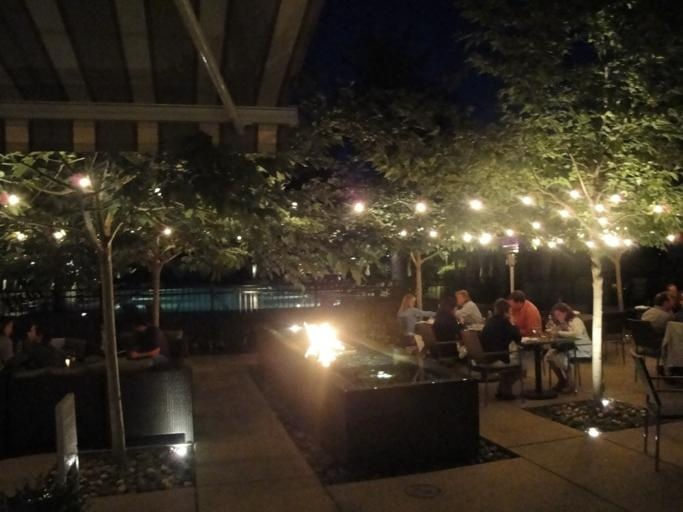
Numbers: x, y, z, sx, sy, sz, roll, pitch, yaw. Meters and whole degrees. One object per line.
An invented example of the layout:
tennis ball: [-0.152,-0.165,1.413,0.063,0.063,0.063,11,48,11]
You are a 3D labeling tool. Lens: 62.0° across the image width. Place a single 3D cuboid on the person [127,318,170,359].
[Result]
person: [-3.984,1.690,11.642,0.662,0.639,0.928,-8,-16,30]
